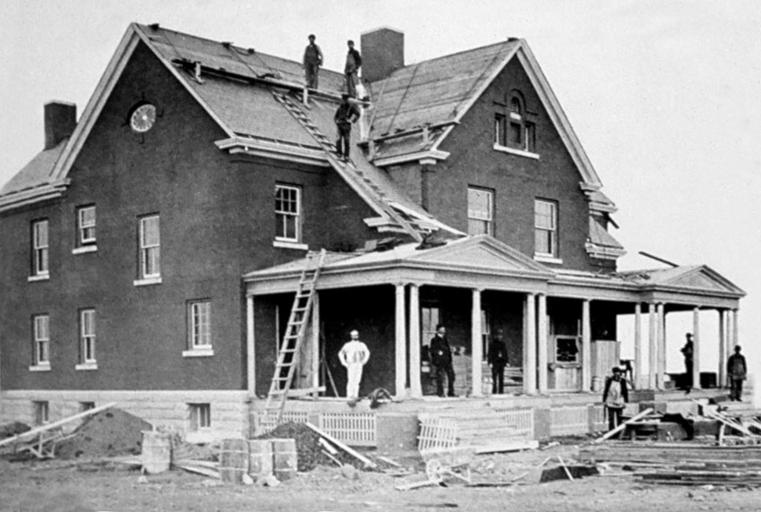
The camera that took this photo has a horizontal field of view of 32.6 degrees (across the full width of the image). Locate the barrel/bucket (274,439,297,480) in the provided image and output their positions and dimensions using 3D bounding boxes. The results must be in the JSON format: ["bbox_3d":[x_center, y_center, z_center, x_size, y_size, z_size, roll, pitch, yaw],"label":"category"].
[{"bbox_3d":[-2.552,5.362,34.404,0.765,1.195,0.747,-3,8,0],"label":"barrel/bucket"}]

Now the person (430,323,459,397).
[{"bbox_3d":[1.932,3.351,41.471,0.831,2.286,0.722,1,-3,-8],"label":"person"}]

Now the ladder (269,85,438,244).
[{"bbox_3d":[-1.026,-2.884,44.532,1.237,8.018,0.980,3,-55,-47],"label":"ladder"}]

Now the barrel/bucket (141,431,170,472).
[{"bbox_3d":[-6.112,5.430,35.948,0.931,1.259,0.997,-1,-5,0],"label":"barrel/bucket"}]

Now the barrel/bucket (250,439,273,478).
[{"bbox_3d":[-3.119,5.299,33.831,0.604,0.967,0.322,0,-12,-8],"label":"barrel/bucket"}]
